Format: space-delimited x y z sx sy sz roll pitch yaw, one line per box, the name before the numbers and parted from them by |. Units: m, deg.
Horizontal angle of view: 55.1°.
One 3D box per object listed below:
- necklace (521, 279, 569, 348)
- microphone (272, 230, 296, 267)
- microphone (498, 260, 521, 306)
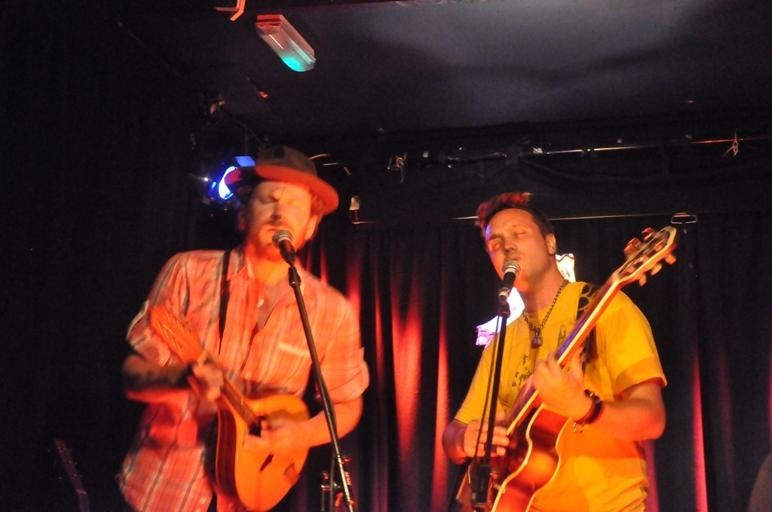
necklace | 1.284 0.506 6.007 0.120 0.516 0.359 31 -34 -29
microphone | -0.699 -0.057 5.046 0.133 0.274 0.257 2 -5 -18
microphone | 0.911 0.190 5.452 0.116 0.121 0.382 6 36 18
